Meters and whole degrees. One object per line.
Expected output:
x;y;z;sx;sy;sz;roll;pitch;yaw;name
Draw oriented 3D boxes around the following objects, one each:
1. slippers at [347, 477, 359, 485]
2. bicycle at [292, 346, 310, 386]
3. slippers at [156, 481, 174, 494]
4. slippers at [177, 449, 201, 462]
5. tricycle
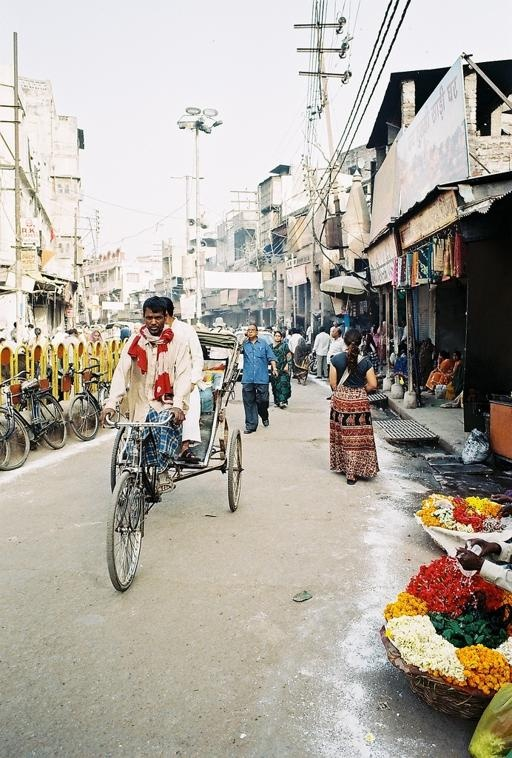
1.037;1.100;6.331;0.108;0.058;0.204;0;1;13;slippers
1.577;-0.448;20.548;0.560;0.902;1.252;-2;0;2;bicycle
-0.627;0.749;4.031;0.080;0.075;0.125;0;1;31;slippers
-0.507;0.585;4.437;0.071;0.105;0.218;1;-6;-20;slippers
-0.691;0.393;4.549;0.946;1.641;2.841;0;1;4;tricycle
